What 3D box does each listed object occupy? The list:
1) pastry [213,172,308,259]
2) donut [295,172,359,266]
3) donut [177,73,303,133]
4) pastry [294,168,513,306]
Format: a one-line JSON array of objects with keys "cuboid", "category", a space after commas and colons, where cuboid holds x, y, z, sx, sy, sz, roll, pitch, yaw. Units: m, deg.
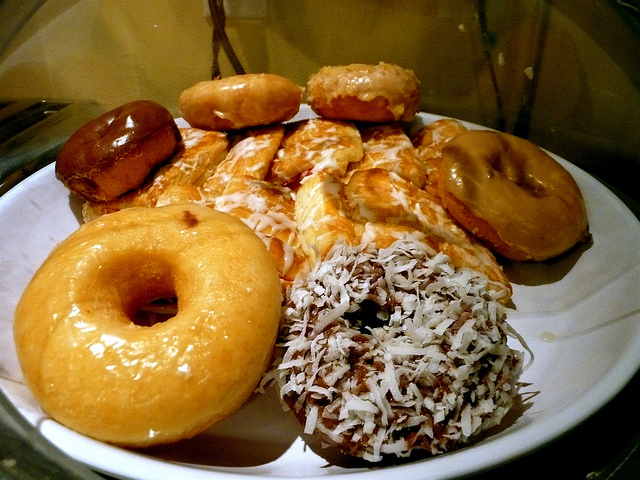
[{"cuboid": [-0.196, -0.107, 1.786, 0.309, 0.088, 0.298, 27, 26, -2], "category": "pastry"}, {"cuboid": [0.011, -0.074, 1.759, 0.215, 0.093, 0.281, -11, 71, 13], "category": "donut"}, {"cuboid": [-0.317, -0.455, 2.017, 0.299, 0.114, 0.287, -18, 17, -28], "category": "donut"}, {"cuboid": [0.328, -0.069, 1.938, 0.843, 0.238, 0.639, -1, 27, -33], "category": "pastry"}]
